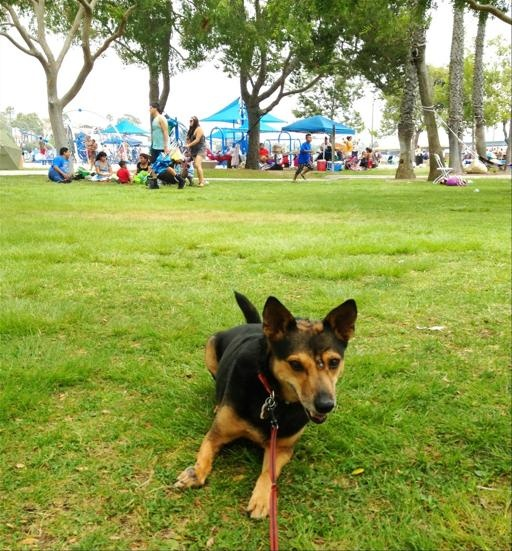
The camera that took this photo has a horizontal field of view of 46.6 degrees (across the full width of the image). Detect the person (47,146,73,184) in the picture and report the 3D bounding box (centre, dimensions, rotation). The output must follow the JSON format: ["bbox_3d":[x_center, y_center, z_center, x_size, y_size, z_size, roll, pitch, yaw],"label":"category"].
[{"bbox_3d":[-7.071,-4.002,21.476,0.804,1.179,2.497,-3,15,-16],"label":"person"}]

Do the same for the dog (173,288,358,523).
[{"bbox_3d":[0.083,0.530,3.183,0.835,0.993,1.205,3,15,8],"label":"dog"}]

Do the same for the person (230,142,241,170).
[{"bbox_3d":[-1.394,-8.034,39.859,0.551,1.588,1.399,0,15,-2],"label":"person"}]

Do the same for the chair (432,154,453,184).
[{"bbox_3d":[7.428,-4.301,23.871,0.668,1.079,2.624,5,15,16],"label":"chair"}]

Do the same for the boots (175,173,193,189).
[{"bbox_3d":[-2.328,-3.059,19.253,0.388,0.474,1.092,-2,3,-4],"label":"boots"}]

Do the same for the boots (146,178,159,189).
[{"bbox_3d":[-3.195,-2.876,18.467,0.332,0.337,0.815,-2,14,-10],"label":"boots"}]

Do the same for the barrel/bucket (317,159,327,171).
[{"bbox_3d":[4.273,-7.268,39.265,0.784,0.666,0.733,0,14,0],"label":"barrel/bucket"}]
